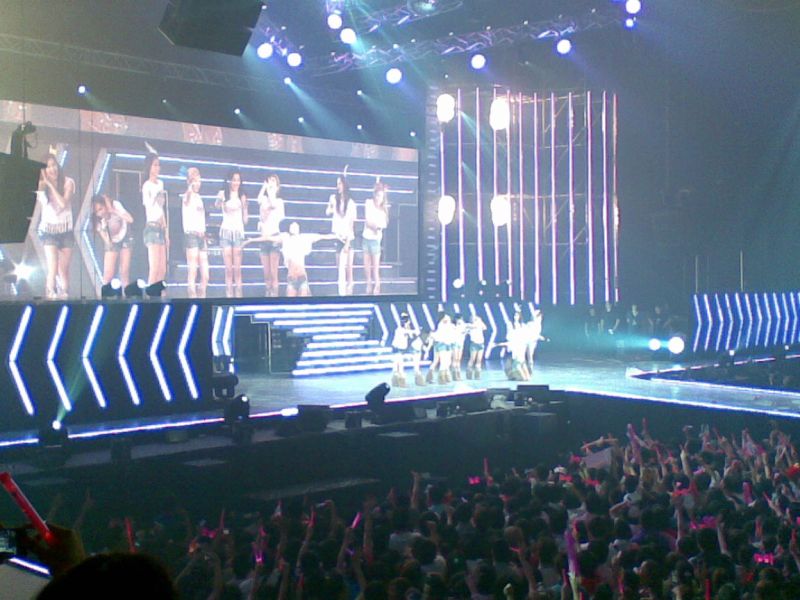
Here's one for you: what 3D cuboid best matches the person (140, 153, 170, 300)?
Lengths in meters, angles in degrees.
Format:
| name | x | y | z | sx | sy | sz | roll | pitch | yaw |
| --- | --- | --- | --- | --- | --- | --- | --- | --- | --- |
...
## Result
| name | x | y | z | sx | sy | sz | roll | pitch | yaw |
| --- | --- | --- | --- | --- | --- | --- | --- | --- | --- |
| person | -4.693 | -1.603 | 14.419 | 0.552 | 2.520 | 0.258 | 2 | -4 | -22 |

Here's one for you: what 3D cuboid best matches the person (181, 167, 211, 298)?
| name | x | y | z | sx | sy | sz | roll | pitch | yaw |
| --- | --- | --- | --- | --- | --- | --- | --- | --- | --- |
| person | -4.025 | -1.347 | 14.811 | 0.612 | 2.481 | 0.309 | 2 | -4 | -28 |

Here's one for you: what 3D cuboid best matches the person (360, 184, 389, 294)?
| name | x | y | z | sx | sy | sz | roll | pitch | yaw |
| --- | --- | --- | --- | --- | --- | --- | --- | --- | --- |
| person | -0.565 | -1.447 | 16.714 | 0.636 | 2.598 | 0.169 | 1 | -4 | -21 |
